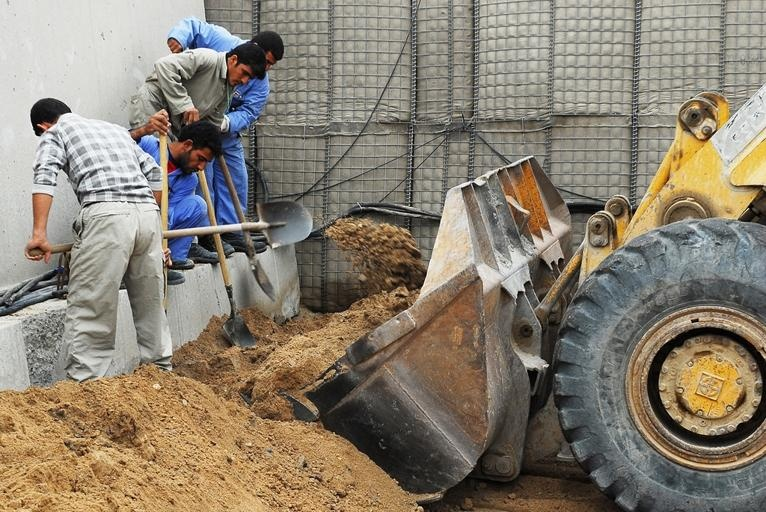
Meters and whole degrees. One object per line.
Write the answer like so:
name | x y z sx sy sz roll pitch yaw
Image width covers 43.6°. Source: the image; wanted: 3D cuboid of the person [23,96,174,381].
person | -2.163 -0.042 7.179 0.960 2.535 0.973 -2 -8 -27

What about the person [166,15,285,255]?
person | -1.648 -1.243 9.399 0.896 2.057 0.860 4 20 -12

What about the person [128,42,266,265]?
person | -1.802 -0.987 8.773 1.097 2.211 0.773 13 3 1
